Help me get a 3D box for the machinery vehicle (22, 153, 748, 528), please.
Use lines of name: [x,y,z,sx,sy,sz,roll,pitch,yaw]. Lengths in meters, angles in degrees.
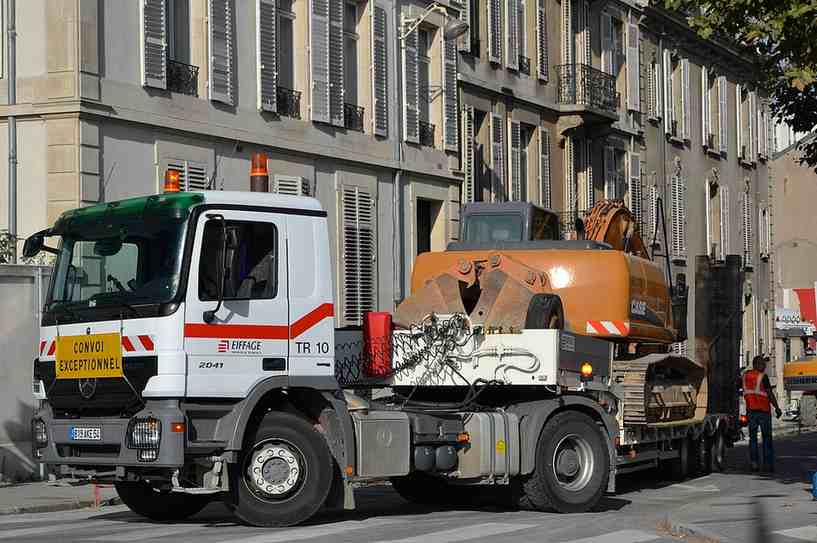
machinery vehicle: [0.237,1.192,25.868,13.133,6.551,5.032,5,-8,-41]
